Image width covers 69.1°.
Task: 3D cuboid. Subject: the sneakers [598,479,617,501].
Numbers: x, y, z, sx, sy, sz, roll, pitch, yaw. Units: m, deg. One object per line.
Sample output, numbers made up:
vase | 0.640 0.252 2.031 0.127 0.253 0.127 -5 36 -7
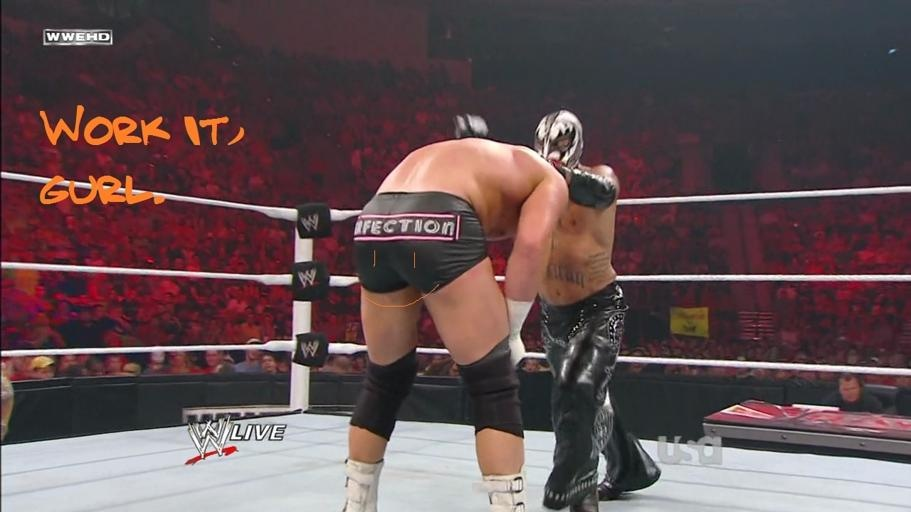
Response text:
sneakers | 1.029 1.562 4.414 0.147 0.124 0.051 1 -1 9

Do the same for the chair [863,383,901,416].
chair | 4.006 1.362 6.241 0.269 0.174 0.277 -1 -10 17
